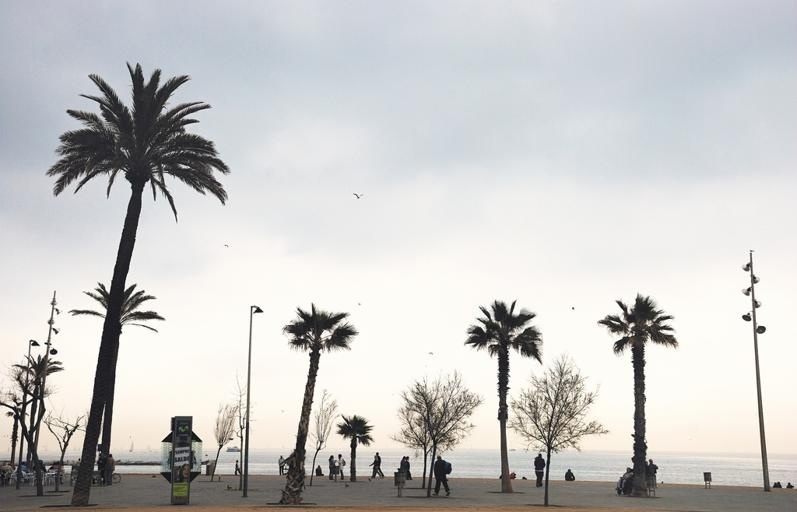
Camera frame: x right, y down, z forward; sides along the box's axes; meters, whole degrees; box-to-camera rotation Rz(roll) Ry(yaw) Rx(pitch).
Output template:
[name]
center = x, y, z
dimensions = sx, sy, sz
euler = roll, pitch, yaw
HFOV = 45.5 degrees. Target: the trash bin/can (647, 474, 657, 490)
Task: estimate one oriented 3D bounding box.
[trash bin/can]
center = 20.121, 17.823, 75.214
dimensions = 0.936, 0.977, 0.949
euler = 1, -11, -3
